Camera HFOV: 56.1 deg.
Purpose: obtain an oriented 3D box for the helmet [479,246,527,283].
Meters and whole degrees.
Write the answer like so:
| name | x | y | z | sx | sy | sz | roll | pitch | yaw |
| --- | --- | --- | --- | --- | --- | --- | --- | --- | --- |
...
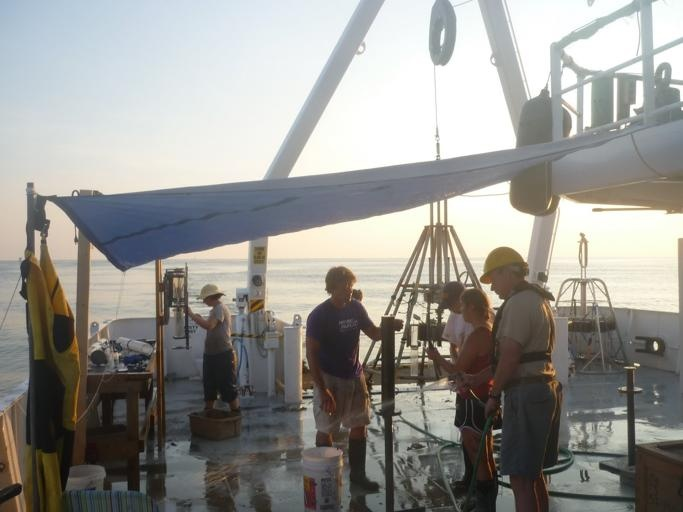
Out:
| name | x | y | z | sx | sy | sz | roll | pitch | yaw |
| --- | --- | --- | --- | --- | --- | --- | --- | --- | --- |
| helmet | 1.651 | 0.096 | 6.590 | 0.403 | 0.280 | 0.324 | -9 | -8 | 7 |

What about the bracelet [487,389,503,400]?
| name | x | y | z | sx | sy | sz | roll | pitch | yaw |
| --- | --- | --- | --- | --- | --- | --- | --- | --- | --- |
| bracelet | 1.499 | 1.358 | 6.293 | 0.078 | 0.056 | 0.114 | -1 | 0 | 3 |

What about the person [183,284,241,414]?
| name | x | y | z | sx | sy | sz | roll | pitch | yaw |
| --- | --- | --- | --- | --- | --- | --- | --- | --- | --- |
| person | -2.077 | 1.472 | 10.535 | 0.741 | 2.076 | 1.230 | 1 | -5 | -11 |

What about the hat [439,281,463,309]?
| name | x | y | z | sx | sy | sz | roll | pitch | yaw |
| --- | --- | --- | --- | --- | --- | --- | --- | --- | --- |
| hat | 1.275 | 0.477 | 7.457 | 0.265 | 0.404 | 0.372 | 2 | 5 | -6 |

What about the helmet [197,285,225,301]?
| name | x | y | z | sx | sy | sz | roll | pitch | yaw |
| --- | --- | --- | --- | --- | --- | --- | --- | --- | --- |
| helmet | -2.150 | 0.582 | 10.512 | 0.338 | 0.203 | 0.367 | -18 | 4 | 19 |

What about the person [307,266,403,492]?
| name | x | y | z | sx | sy | sz | roll | pitch | yaw |
| --- | --- | --- | --- | --- | --- | --- | --- | --- | --- |
| person | -0.003 | 1.457 | 7.586 | 0.931 | 2.665 | 0.522 | 1 | -5 | -18 |

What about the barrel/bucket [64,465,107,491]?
| name | x | y | z | sx | sy | sz | roll | pitch | yaw |
| --- | --- | --- | --- | --- | --- | --- | --- | --- | --- |
| barrel/bucket | -2.739 | 2.375 | 6.824 | 0.364 | 0.229 | 0.436 | 2 | -6 | -24 |

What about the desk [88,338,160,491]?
| name | x | y | z | sx | sy | sz | roll | pitch | yaw |
| --- | --- | --- | --- | --- | --- | --- | --- | --- | --- |
| desk | -2.849 | 2.075 | 8.346 | 0.572 | 0.849 | 1.753 | 0 | -1 | -14 |
